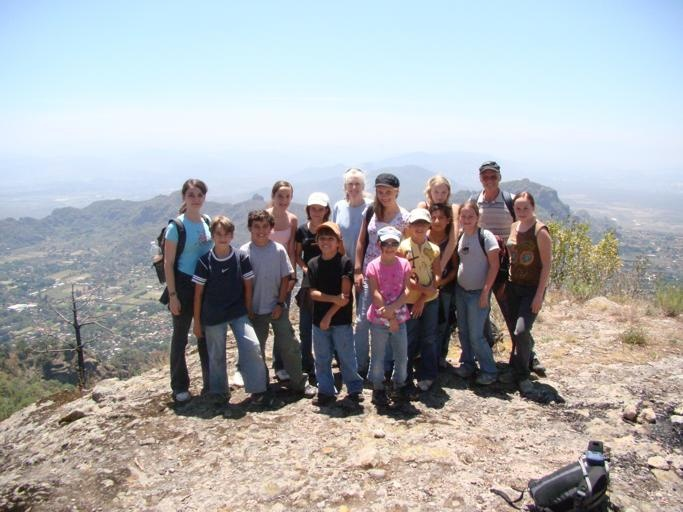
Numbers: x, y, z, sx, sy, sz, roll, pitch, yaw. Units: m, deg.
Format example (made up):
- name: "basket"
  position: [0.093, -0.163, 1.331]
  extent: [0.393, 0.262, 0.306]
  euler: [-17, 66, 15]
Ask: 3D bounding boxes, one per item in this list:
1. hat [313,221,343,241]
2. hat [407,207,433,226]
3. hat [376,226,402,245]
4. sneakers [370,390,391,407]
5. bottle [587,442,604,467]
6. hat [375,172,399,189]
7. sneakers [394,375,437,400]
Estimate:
- name: "hat"
  position: [-0.162, -0.330, 6.348]
  extent: [0.311, 0.238, 0.283]
  euler: [-9, 14, -27]
- name: "hat"
  position: [1.029, -0.528, 6.448]
  extent: [0.275, 0.195, 0.317]
  euler: [-2, 12, 1]
- name: "hat"
  position: [0.612, -0.263, 6.164]
  extent: [0.251, 0.150, 0.380]
  euler: [1, 2, 2]
- name: "sneakers"
  position: [0.529, 1.840, 6.352]
  extent: [0.268, 0.179, 0.250]
  euler: [-6, 13, -16]
- name: "bottle"
  position: [2.564, 1.996, 4.910]
  extent: [0.177, 0.189, 0.178]
  euler: [0, 13, 14]
- name: "hat"
  position: [0.619, -1.030, 6.577]
  extent: [0.314, 0.200, 0.302]
  euler: [-2, 12, 4]
- name: "sneakers"
  position: [1.002, 1.775, 6.528]
  extent: [0.588, 0.255, 0.210]
  euler: [5, -11, -45]
